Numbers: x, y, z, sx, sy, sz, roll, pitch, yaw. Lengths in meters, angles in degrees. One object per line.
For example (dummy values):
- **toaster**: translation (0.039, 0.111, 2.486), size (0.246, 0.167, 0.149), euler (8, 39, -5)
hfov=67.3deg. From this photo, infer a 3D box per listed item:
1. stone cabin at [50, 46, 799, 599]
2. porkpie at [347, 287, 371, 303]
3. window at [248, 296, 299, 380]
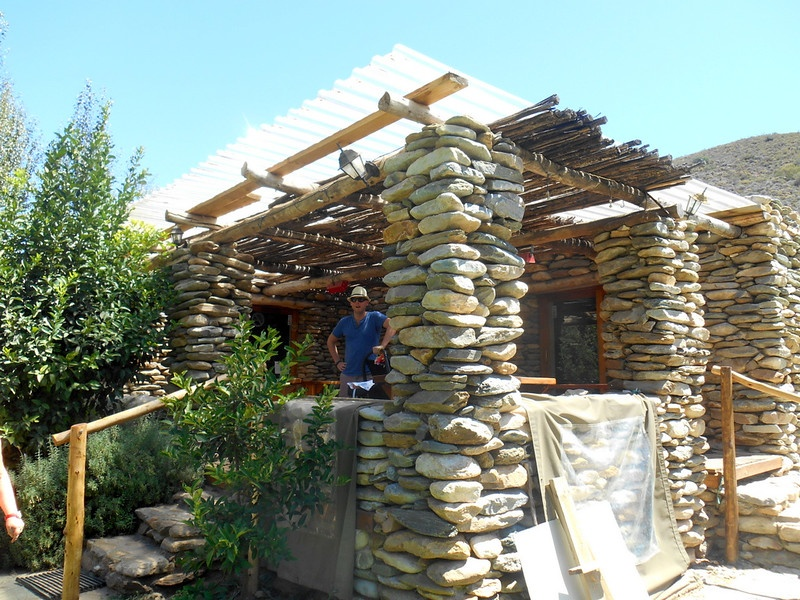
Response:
- **stone cabin**: translation (1.316, 0.871, 8.534), size (8.036, 3.312, 7.330), euler (5, -12, -35)
- **porkpie**: translation (-0.531, -0.056, 7.688), size (0.262, 0.116, 0.264), euler (0, -16, 1)
- **window**: translation (-2.444, 0.804, 12.729), size (1.548, 1.615, 0.516), euler (-1, 7, -33)
